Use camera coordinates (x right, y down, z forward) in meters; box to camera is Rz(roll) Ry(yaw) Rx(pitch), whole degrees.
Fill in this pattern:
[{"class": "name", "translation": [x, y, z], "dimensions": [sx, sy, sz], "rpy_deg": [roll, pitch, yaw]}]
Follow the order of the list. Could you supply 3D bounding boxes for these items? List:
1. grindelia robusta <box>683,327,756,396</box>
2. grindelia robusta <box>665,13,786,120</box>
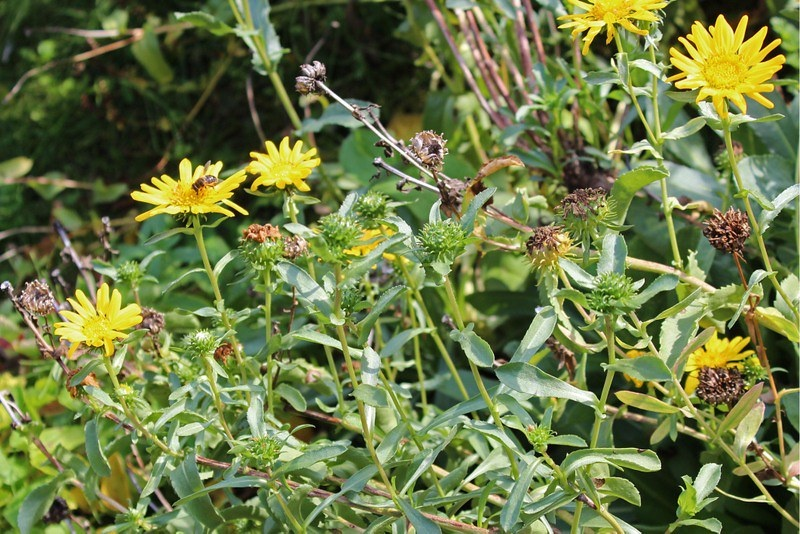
[{"class": "grindelia robusta", "translation": [0.492, 0.142, 1.256], "dimensions": [0.100, 0.027, 0.105], "rpy_deg": [-36, 39, 1]}, {"class": "grindelia robusta", "translation": [0.471, -0.306, 1.171], "dimensions": [0.142, 0.148, 0.052], "rpy_deg": [6, 71, 43]}]
